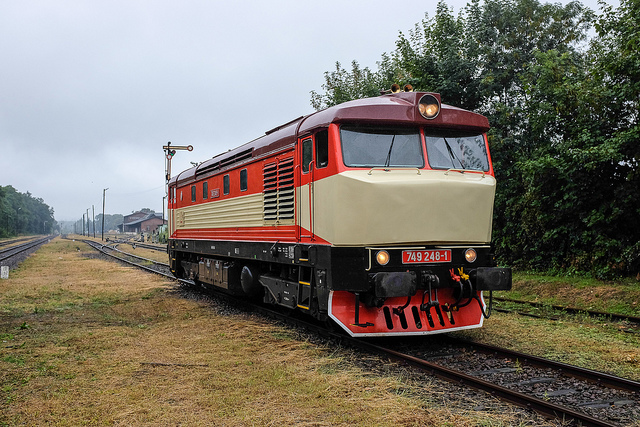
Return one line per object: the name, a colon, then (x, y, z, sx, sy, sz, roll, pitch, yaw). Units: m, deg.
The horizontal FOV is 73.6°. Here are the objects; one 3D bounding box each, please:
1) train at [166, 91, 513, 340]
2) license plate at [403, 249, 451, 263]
train: (-1.385, 0.725, 15.163, 4.817, 5.408, 14.856, 1, -4, -25)
license plate: (2.252, 0.892, 9.048, 1.104, 0.306, 0.027, -3, 3, -15)
